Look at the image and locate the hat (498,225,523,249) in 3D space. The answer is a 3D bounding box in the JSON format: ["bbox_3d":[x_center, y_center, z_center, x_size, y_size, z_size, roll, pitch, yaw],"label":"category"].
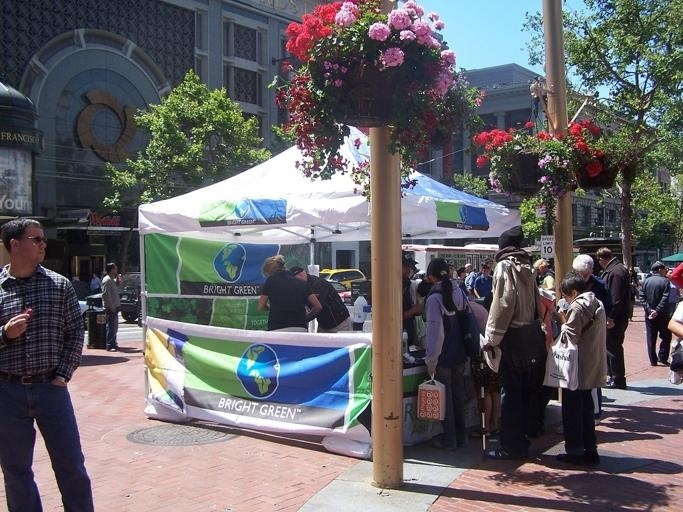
[{"bbox_3d":[2.156,-0.221,10.626,0.341,0.280,0.245,-21,-13,35],"label":"hat"}]

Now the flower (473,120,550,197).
[{"bbox_3d":[2.330,-1.319,11.680,1.030,1.098,0.948,-2,1,-18],"label":"flower"}]

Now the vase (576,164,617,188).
[{"bbox_3d":[3.667,-1.104,11.623,0.590,0.291,0.468,-1,1,-3],"label":"vase"}]

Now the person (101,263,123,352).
[{"bbox_3d":[-5.766,1.231,20.315,0.396,2.106,1.243,-1,1,-16],"label":"person"}]

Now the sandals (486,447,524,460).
[{"bbox_3d":[2.058,2.463,10.223,0.417,0.147,0.172,2,-4,17],"label":"sandals"}]

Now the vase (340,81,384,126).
[{"bbox_3d":[0.243,-1.694,9.048,0.391,0.413,0.407,0,0,2],"label":"vase"}]

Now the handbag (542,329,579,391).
[{"bbox_3d":[2.674,1.268,9.942,0.393,0.652,0.256,-1,1,23],"label":"handbag"}]

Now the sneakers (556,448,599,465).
[{"bbox_3d":[2.913,2.445,10.082,0.516,0.235,0.183,2,-4,12],"label":"sneakers"}]

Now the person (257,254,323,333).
[{"bbox_3d":[-0.822,0.612,12.490,0.945,0.832,2.303,-4,-36,-2],"label":"person"}]

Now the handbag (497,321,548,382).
[{"bbox_3d":[2.407,1.148,10.305,0.857,0.881,0.518,4,-8,-33],"label":"handbag"}]

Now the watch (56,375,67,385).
[{"bbox_3d":[-2.841,1.261,8.257,0.088,0.067,0.090,5,4,-2],"label":"watch"}]
